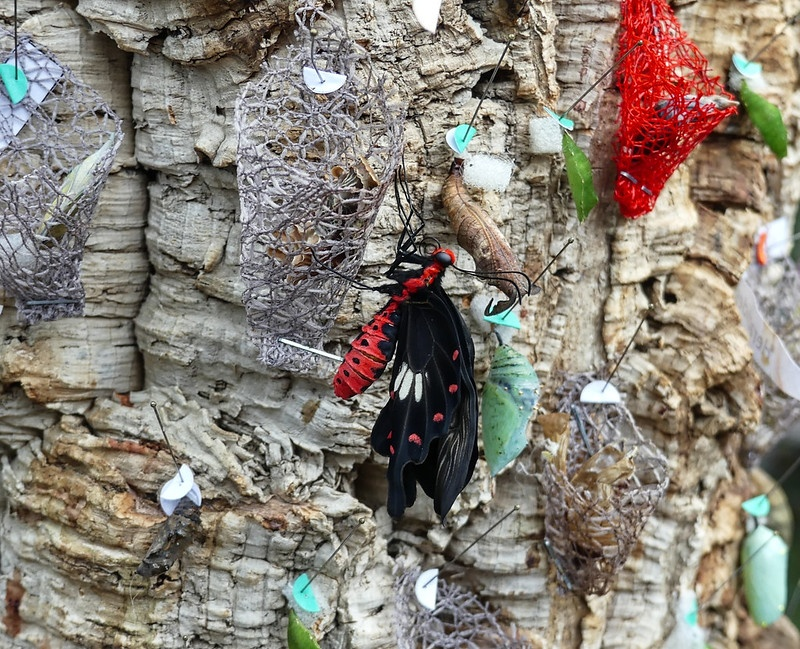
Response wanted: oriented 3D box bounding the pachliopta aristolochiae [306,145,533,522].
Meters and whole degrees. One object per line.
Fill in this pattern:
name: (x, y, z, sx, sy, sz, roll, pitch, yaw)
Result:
pachliopta aristolochiae: (0.016, 0.113, 4.470, 0.423, 0.509, 0.837, -8, 64, -11)
